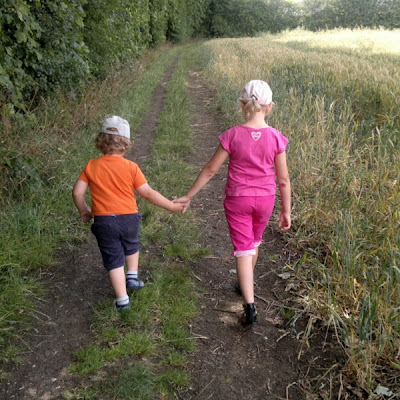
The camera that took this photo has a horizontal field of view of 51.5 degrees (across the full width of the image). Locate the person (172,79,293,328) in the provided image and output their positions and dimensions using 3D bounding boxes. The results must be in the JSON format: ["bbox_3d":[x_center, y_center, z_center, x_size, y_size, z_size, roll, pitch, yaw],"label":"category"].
[{"bbox_3d":[0.402,0.021,3.494,0.660,1.936,0.759,-18,25,-25],"label":"person"}]

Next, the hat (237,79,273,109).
[{"bbox_3d":[0.444,-0.850,3.298,0.255,0.212,0.237,-4,23,8],"label":"hat"}]

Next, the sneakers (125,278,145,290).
[{"bbox_3d":[-0.571,0.727,3.643,0.071,0.082,0.185,2,2,16],"label":"sneakers"}]

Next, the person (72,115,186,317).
[{"bbox_3d":[-0.665,0.090,3.429,0.476,1.462,0.629,16,32,42],"label":"person"}]

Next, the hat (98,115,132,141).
[{"bbox_3d":[-0.683,-0.581,3.341,0.220,0.185,0.267,-7,23,1],"label":"hat"}]

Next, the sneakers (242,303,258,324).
[{"bbox_3d":[0.400,0.928,3.394,0.102,0.141,0.202,1,0,2],"label":"sneakers"}]
